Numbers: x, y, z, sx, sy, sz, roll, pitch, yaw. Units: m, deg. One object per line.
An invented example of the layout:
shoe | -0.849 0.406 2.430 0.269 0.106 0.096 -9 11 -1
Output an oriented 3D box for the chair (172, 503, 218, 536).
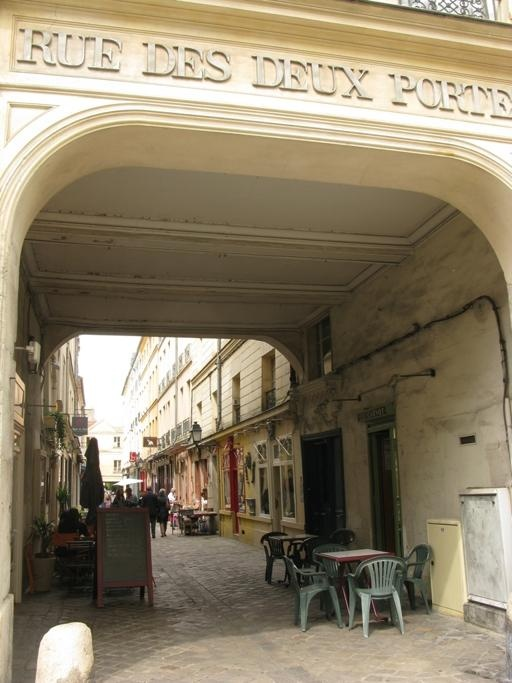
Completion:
chair | -2.418 6.985 19.991 1.779 1.029 1.031 -6 -10 24

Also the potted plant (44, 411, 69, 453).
potted plant | -4.491 1.957 11.509 0.470 0.917 2.469 2 -11 -21

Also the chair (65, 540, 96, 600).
chair | -3.037 3.837 8.853 0.467 0.845 1.617 2 -11 -20

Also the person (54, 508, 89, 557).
person | -3.479 3.640 9.661 0.409 0.939 0.522 1 5 -11

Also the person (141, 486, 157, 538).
person | -3.755 6.046 18.346 0.519 1.974 0.484 1 8 -5

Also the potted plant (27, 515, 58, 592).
potted plant | -3.634 3.632 8.711 0.432 1.186 1.160 2 -10 -21
